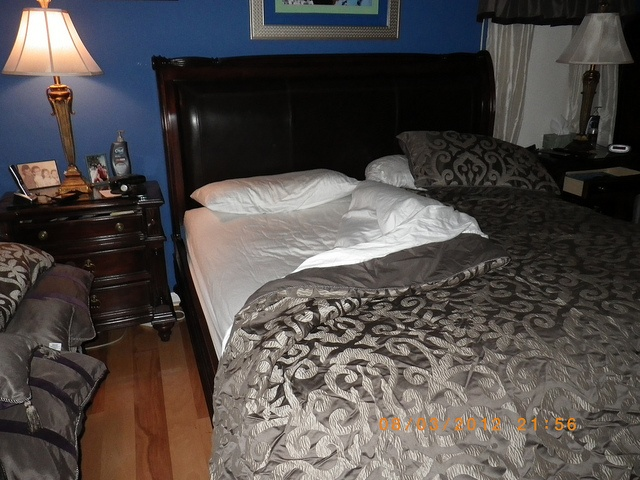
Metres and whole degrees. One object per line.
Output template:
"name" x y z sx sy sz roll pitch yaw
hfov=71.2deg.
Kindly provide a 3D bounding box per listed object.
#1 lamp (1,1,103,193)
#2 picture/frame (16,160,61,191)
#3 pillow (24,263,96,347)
"lamp" -1.330 -0.721 2.296 0.316 0.981 0.356 3 15 22
"picture/frame" -1.584 -0.357 2.508 0.170 0.129 0.017 -18 -2 -25
"pillow" -1.219 0.257 2.052 0.322 0.096 0.534 14 22 -25
